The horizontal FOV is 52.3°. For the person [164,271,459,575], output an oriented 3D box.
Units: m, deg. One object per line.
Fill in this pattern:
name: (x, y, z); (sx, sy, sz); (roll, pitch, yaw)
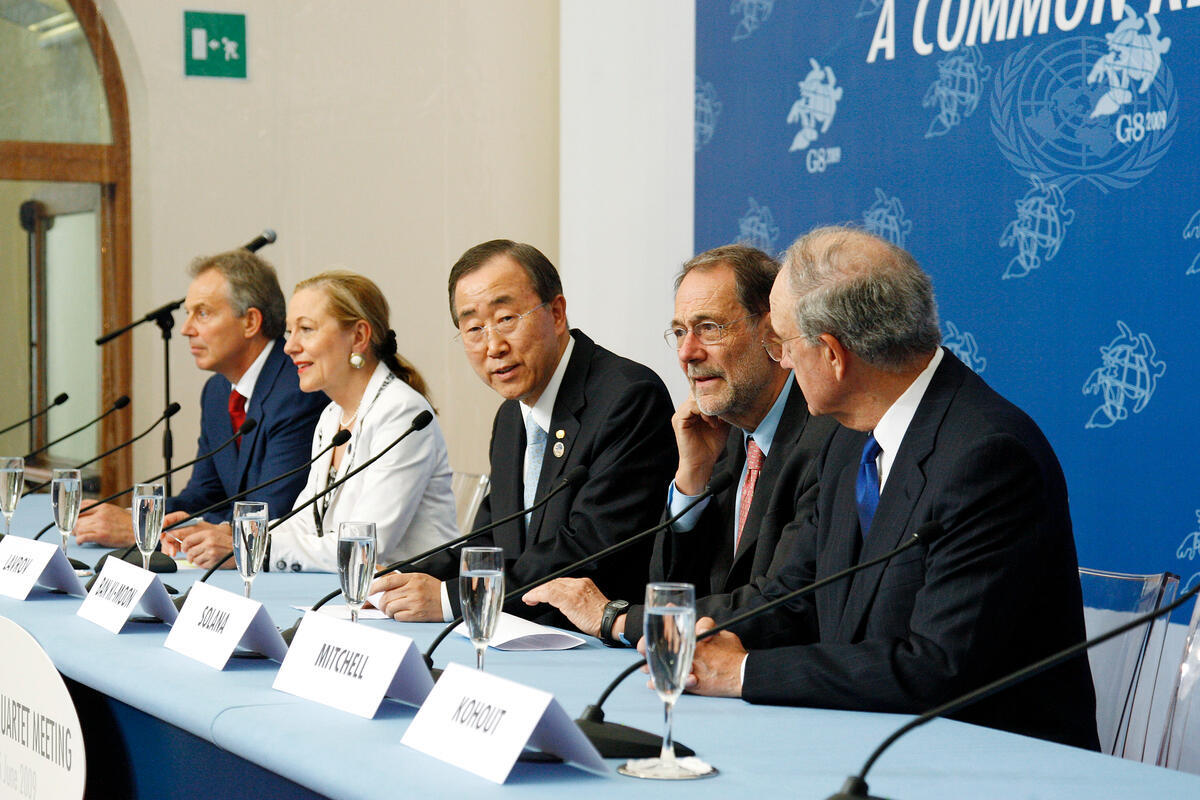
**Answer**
person: (-0.883, 0.076, 3.884); (0.943, 0.885, 0.656); (-9, 12, -32)

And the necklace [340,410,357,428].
necklace: (-0.821, 0.062, 3.998); (0.060, 0.063, 0.017); (-6, -8, 31)

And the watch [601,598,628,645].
watch: (0.032, 0.502, 2.798); (0.052, 0.093, 0.091); (2, 7, 28)

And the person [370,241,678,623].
person: (-0.216, 0.187, 3.630); (0.894, 1.293, 0.947); (-3, 0, 16)

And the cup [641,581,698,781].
cup: (0.114, 0.456, 2.020); (0.116, 0.328, 0.122); (0, 5, 0)

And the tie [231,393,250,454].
tie: (-1.337, 0.096, 4.552); (0.064, 0.219, 0.149); (-4, 1, -7)

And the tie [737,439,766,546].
tie: (0.416, 0.216, 3.273); (0.048, 0.356, 0.039); (18, -29, -4)

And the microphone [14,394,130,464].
microphone: (-2.714, 0.147, 6.301); (0.601, 0.057, 0.062); (-30, -33, 2)

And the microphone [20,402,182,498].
microphone: (-2.408, 0.237, 5.916); (0.903, 0.249, 0.057); (-31, -20, 22)
